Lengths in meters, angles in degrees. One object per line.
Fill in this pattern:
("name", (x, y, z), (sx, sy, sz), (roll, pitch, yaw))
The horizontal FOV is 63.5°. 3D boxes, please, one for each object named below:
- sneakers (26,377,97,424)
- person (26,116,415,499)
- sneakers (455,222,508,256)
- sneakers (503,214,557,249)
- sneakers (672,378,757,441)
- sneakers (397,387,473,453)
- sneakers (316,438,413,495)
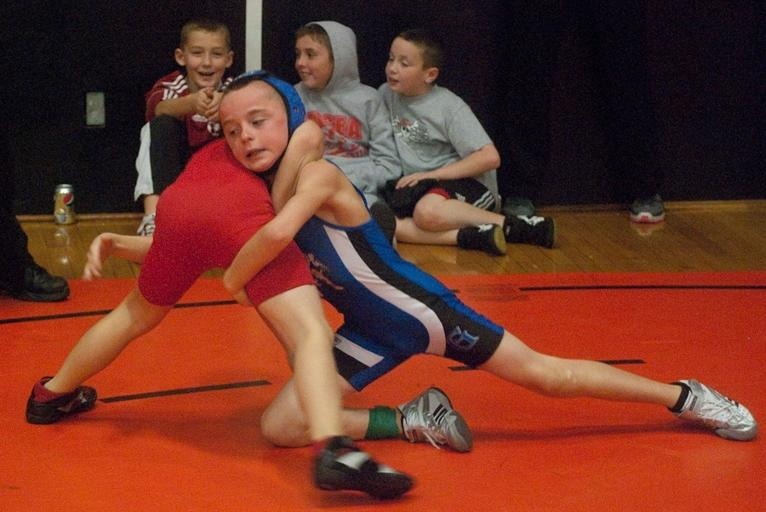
("sneakers", (-0.978, 0.415, 1.921), (0.105, 0.094, 0.209), (13, 22, 25))
("person", (-0.466, 0.162, 1.626), (1.140, 0.844, 0.462), (14, 21, 31))
("sneakers", (0.510, -0.075, 3.199), (0.218, 0.147, 0.110), (-3, 46, 35))
("sneakers", (0.785, -0.136, 3.279), (0.241, 0.114, 0.164), (6, -29, 11))
("sneakers", (1.006, 0.472, 1.920), (0.255, 0.134, 0.110), (26, -14, 17))
("sneakers", (0.142, 0.486, 1.813), (0.217, 0.132, 0.099), (-3, -7, 26))
("sneakers", (-0.062, 0.514, 1.523), (0.270, 0.125, 0.112), (16, -34, -28))
